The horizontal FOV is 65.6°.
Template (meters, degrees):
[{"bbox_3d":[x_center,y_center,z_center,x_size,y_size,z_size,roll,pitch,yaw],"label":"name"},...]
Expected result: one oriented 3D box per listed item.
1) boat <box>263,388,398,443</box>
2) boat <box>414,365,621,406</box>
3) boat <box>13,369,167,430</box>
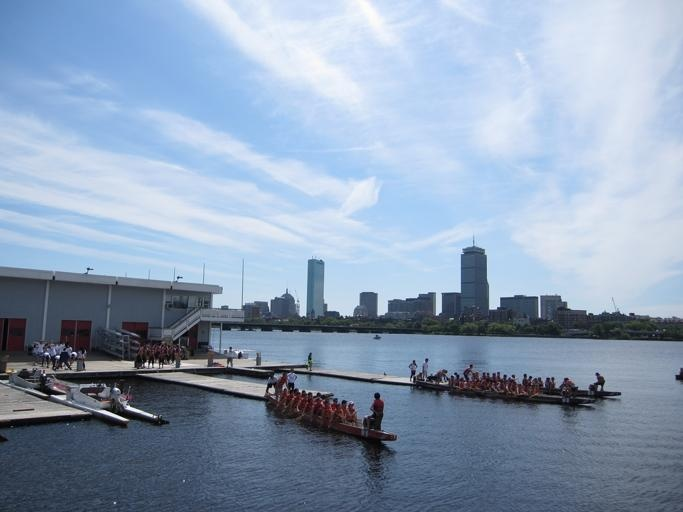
[{"bbox_3d":[-1.316,10.218,34.145,1.607,2.001,11.268,7,-8,-43],"label":"boat"},{"bbox_3d":[13.627,12.385,48.112,13.569,1.783,7.381,-6,-13,30],"label":"boat"},{"bbox_3d":[-17.628,9.576,35.951,15.113,2.024,2.378,-2,-7,34],"label":"boat"}]
